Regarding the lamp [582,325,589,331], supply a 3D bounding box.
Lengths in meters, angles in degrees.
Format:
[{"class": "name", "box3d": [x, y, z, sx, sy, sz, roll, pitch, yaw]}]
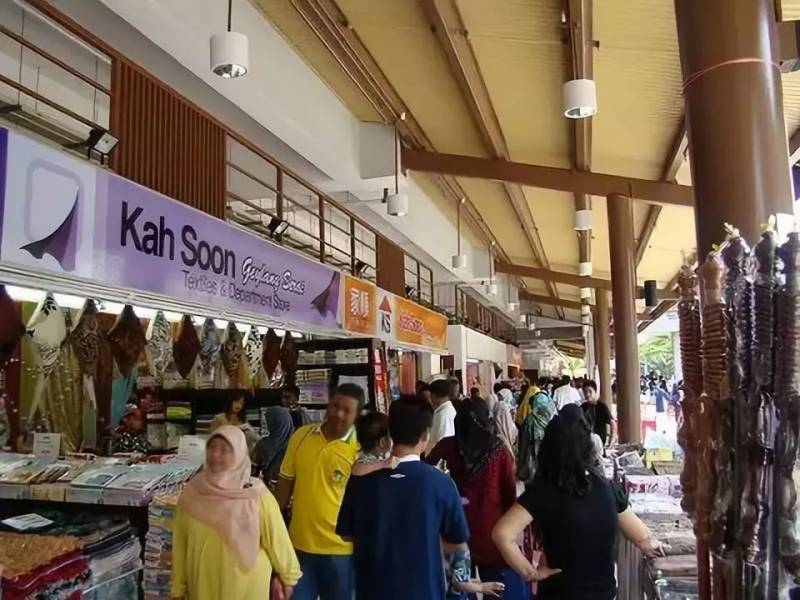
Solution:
[{"class": "lamp", "box3d": [7.142, 1.138, 25.448, 0.247, 0.214, 0.257, -6, -5, 36]}]

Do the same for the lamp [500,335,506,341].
[{"class": "lamp", "box3d": [3.686, 1.441, 23.634, 0.162, 0.203, 0.215, 1, 8, 5]}]

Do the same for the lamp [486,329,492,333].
[{"class": "lamp", "box3d": [2.915, 1.056, 21.447, 0.038, 0.148, 0.146, -4, -2, 39]}]

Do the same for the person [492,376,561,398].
[{"class": "person", "box3d": [2.580, 1.842, 13.757, 1.543, 0.402, 1.126, -9, -17, 38]}]

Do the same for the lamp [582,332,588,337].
[{"class": "lamp", "box3d": [7.336, 1.413, 26.161, 0.150, 0.235, 0.293, 1, -2, -11]}]

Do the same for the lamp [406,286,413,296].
[{"class": "lamp", "box3d": [0.171, -0.148, 12.162, 0.110, 0.160, 0.133, -4, -10, -2]}]

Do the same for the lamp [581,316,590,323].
[{"class": "lamp", "box3d": [6.959, 0.783, 24.645, 0.333, 0.281, 0.363, -1, -8, 0]}]

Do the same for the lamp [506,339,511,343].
[{"class": "lamp", "box3d": [4.211, 1.657, 25.550, 0.226, 0.112, 0.331, 9, -8, -10]}]

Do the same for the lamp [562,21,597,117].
[{"class": "lamp", "box3d": [1.540, -1.790, 5.666, 0.262, 0.414, 0.285, -2, -11, 14]}]

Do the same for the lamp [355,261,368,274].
[{"class": "lamp", "box3d": [-0.556, -0.476, 9.721, 0.189, 0.202, 0.327, 1, -12, -2]}]
